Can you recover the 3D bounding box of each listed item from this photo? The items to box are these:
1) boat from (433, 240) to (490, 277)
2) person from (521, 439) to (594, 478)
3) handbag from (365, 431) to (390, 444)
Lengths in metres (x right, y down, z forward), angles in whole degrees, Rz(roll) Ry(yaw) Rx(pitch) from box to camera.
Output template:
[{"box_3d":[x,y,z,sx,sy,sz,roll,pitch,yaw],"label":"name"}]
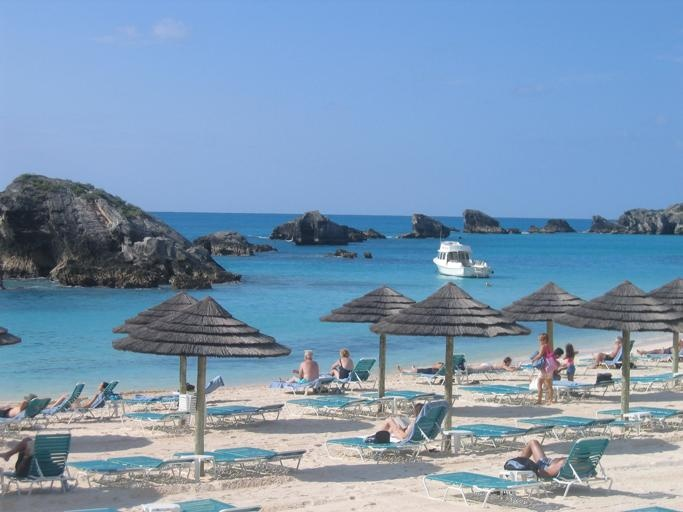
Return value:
[{"box_3d":[8.077,0.485,82.623,1.815,1.381,4.486,0,7,-20],"label":"boat"},{"box_3d":[4.064,4.080,25.066,0.983,0.659,0.559,4,10,37],"label":"person"},{"box_3d":[0.757,3.821,26.277,0.456,0.166,0.257,-5,-3,26],"label":"handbag"}]
